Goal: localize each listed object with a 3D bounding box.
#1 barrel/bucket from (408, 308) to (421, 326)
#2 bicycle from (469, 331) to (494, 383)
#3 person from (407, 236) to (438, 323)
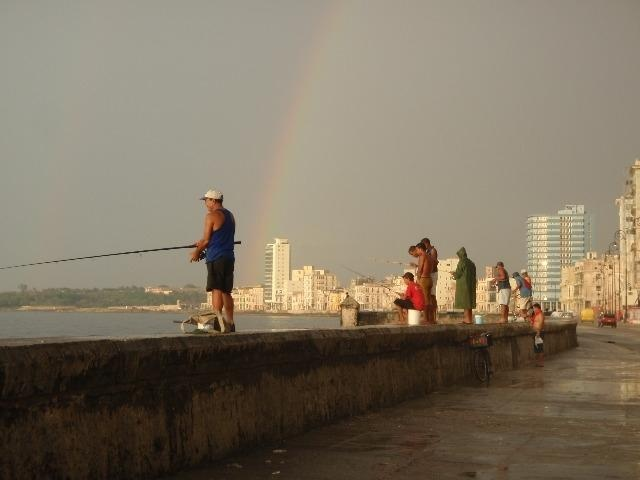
[{"bbox_3d":[1.527,1.283,17.021,0.181,0.273,0.299,-5,-9,41],"label":"barrel/bucket"},{"bbox_3d":[2.725,1.956,17.325,0.319,0.796,1.087,-2,-4,13],"label":"bicycle"},{"bbox_3d":[1.773,0.757,17.678,0.690,1.489,0.689,4,-7,-32],"label":"person"}]
